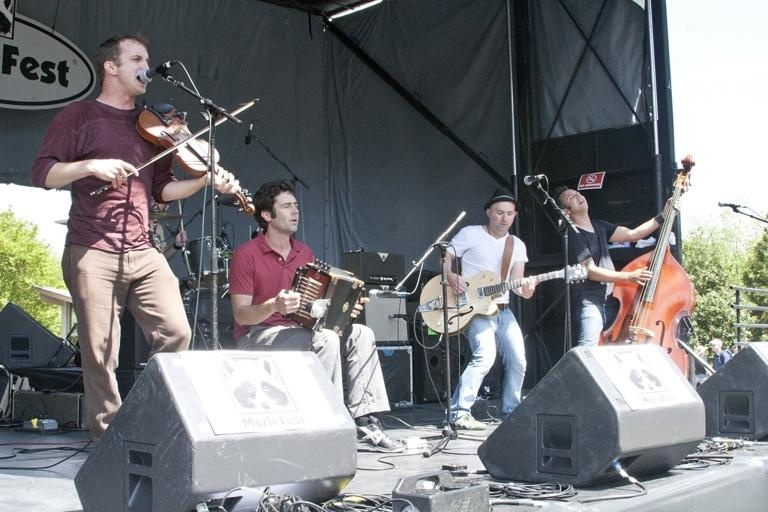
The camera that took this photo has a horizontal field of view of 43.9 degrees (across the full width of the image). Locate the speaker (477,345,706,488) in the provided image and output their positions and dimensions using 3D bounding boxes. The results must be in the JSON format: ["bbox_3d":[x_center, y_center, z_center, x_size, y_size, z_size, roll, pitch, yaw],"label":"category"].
[{"bbox_3d":[1.683,1.290,7.638,1.744,1.071,0.620,-3,-6,8],"label":"speaker"}]

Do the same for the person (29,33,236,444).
[{"bbox_3d":[-2.104,-0.280,7.871,1.102,3.649,1.566,-4,-6,40],"label":"person"}]

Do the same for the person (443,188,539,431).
[{"bbox_3d":[1.149,0.564,10.301,1.041,2.434,0.960,1,1,0],"label":"person"}]

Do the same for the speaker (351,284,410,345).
[{"bbox_3d":[0.032,0.761,11.841,0.440,0.646,0.892,2,-2,8],"label":"speaker"}]

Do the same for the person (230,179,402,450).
[{"bbox_3d":[-0.709,0.576,8.888,1.422,2.468,1.096,-5,-4,26],"label":"person"}]

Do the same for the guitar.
[{"bbox_3d":[1.134,0.498,10.187,1.503,0.654,0.499,-2,-6,-1],"label":"guitar"}]

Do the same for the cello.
[{"bbox_3d":[2.988,0.236,10.265,0.779,2.304,0.681,14,-7,21],"label":"cello"}]
